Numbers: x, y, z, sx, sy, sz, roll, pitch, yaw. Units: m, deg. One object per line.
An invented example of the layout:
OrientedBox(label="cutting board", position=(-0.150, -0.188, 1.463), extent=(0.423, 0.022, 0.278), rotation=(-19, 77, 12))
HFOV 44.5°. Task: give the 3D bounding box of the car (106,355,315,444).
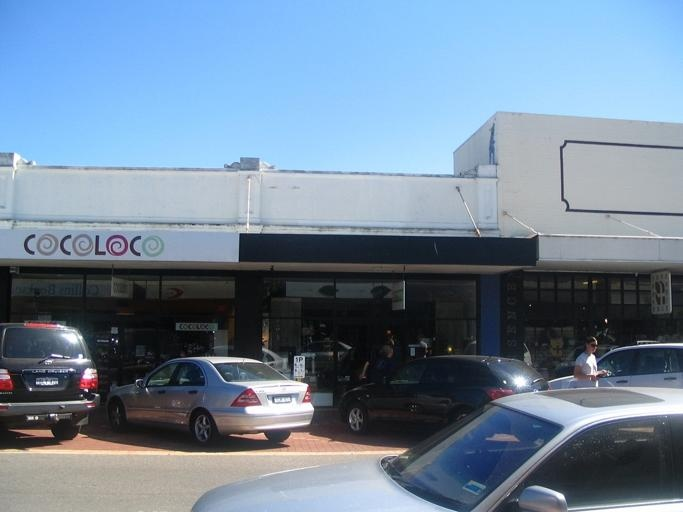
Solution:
OrientedBox(label="car", position=(-2.707, 2.857, 17.316), extent=(3.751, 1.368, 1.766), rotation=(0, -5, 35))

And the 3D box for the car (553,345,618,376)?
OrientedBox(label="car", position=(6.393, 2.791, 21.912), extent=(1.486, 0.865, 0.856), rotation=(-2, -3, 1))

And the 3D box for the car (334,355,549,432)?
OrientedBox(label="car", position=(2.048, 2.838, 17.783), extent=(3.954, 1.453, 1.731), rotation=(-5, -10, 34))

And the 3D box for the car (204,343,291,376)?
OrientedBox(label="car", position=(-2.462, 2.671, 21.977), extent=(2.063, 0.744, 0.917), rotation=(4, -4, 0))
